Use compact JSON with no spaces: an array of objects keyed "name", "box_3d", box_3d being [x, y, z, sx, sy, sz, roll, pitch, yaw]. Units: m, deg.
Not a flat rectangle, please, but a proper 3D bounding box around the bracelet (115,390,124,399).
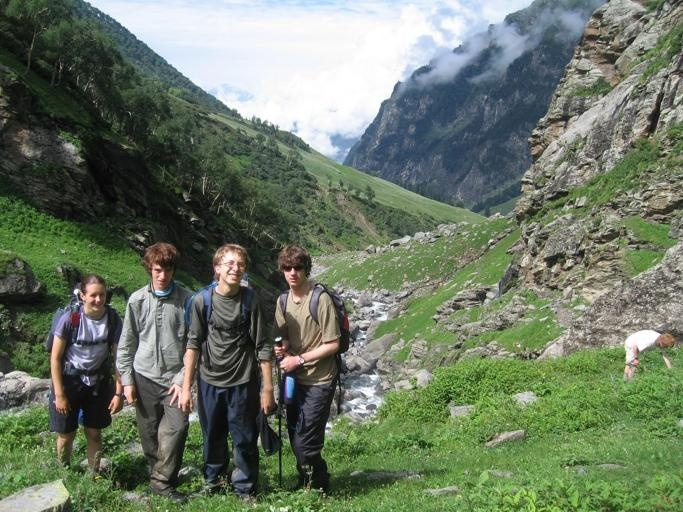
[{"name":"bracelet","box_3d":[-10.562,6.637,33.059,0.338,0.255,0.437,16,-19,-39]}]
